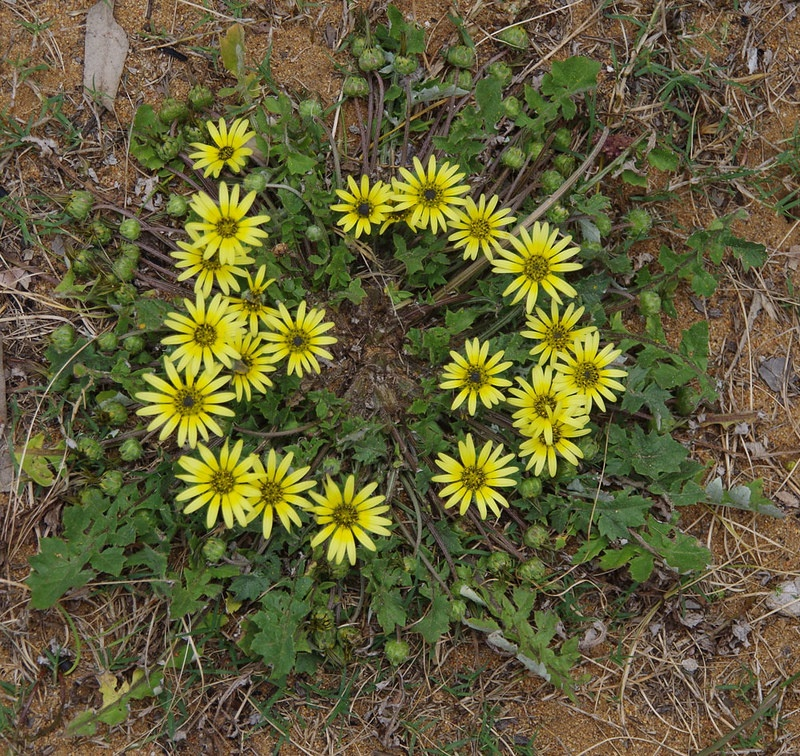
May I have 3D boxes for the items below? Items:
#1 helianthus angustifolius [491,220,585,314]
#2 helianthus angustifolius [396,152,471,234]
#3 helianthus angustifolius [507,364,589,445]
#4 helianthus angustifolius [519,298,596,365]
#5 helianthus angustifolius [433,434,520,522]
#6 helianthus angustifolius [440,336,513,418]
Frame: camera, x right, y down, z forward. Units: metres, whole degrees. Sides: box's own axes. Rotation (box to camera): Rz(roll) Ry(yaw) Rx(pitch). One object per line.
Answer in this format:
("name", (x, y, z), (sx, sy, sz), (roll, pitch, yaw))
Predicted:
("helianthus angustifolius", (0.643, -0.515, 3.320), (0.397, 0.301, 0.388), (-26, 88, -2))
("helianthus angustifolius", (0.148, -0.864, 3.324), (0.366, 0.340, 0.346), (-4, 88, -1))
("helianthus angustifolius", (0.688, 0.105, 3.215), (0.367, 0.356, 0.083), (25, 121, 41))
("helianthus angustifolius", (0.797, -0.252, 3.378), (0.404, 0.360, 0.099), (4, 79, -31))
("helianthus angustifolius", (0.358, 0.456, 3.335), (0.404, 0.402, 0.358), (25, 88, 1))
("helianthus angustifolius", (0.354, -0.004, 3.267), (0.330, 0.084, 0.354), (-40, 62, -1))
